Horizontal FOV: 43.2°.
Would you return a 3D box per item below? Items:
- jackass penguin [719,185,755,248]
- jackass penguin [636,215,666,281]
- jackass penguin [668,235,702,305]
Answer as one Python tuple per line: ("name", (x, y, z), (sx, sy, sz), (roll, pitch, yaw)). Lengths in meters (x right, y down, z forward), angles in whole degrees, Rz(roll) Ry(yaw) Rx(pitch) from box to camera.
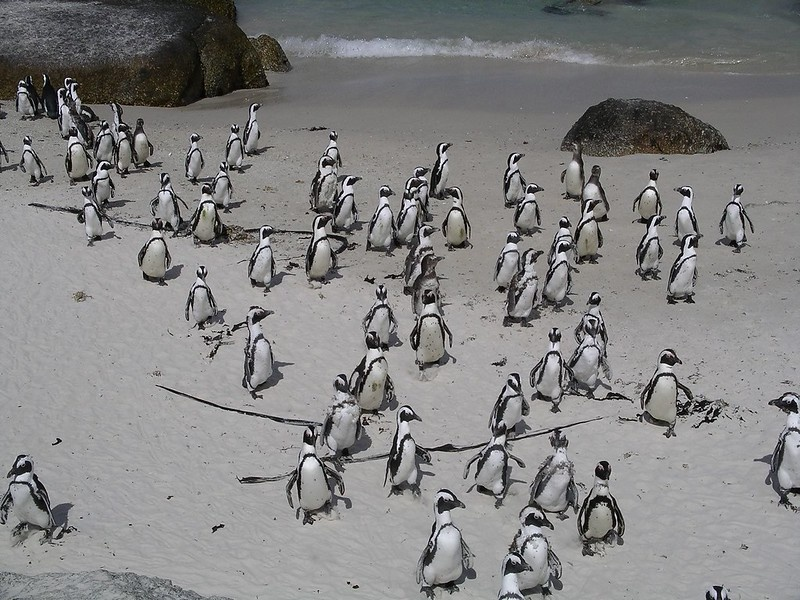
("jackass penguin", (8.296, -2.032, 24.775), (0.842, 1.514, 1.372), (11, 18, 18))
("jackass penguin", (5.971, -1.315, 24.083), (0.601, 1.511, 1.300), (10, 18, 14))
("jackass penguin", (6.381, -0.678, 22.687), (0.609, 1.620, 0.576), (10, 18, 14))
